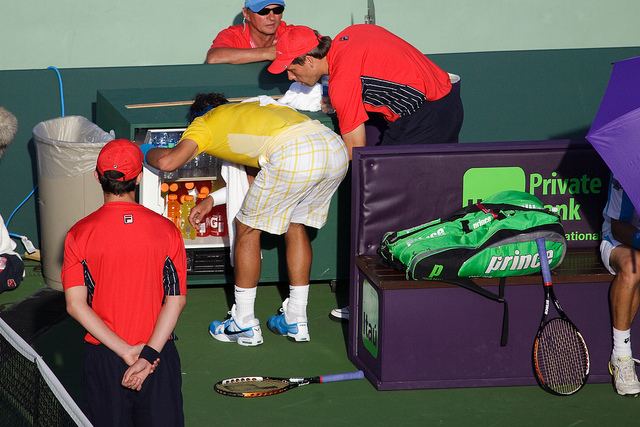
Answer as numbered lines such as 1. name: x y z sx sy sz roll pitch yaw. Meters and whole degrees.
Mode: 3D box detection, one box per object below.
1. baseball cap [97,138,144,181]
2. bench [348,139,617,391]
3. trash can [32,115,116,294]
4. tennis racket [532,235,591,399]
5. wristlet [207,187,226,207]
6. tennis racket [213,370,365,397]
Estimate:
1. baseball cap: -1.260 -0.337 4.380 0.231 0.224 0.236 6 16 22
2. bench: 1.203 0.416 5.176 1.650 1.242 0.600 -3 19 -5
3. trash can: -2.301 -0.107 6.580 0.751 1.543 0.773 -7 16 -23
4. tennis racket: 1.795 0.802 5.053 0.397 1.231 0.370 4 31 5
5. wristlet: -0.890 -0.153 6.056 0.143 0.150 0.067 -14 -12 -3
6. tennis racket: -0.224 1.266 5.160 1.114 0.097 0.327 0 17 -6
